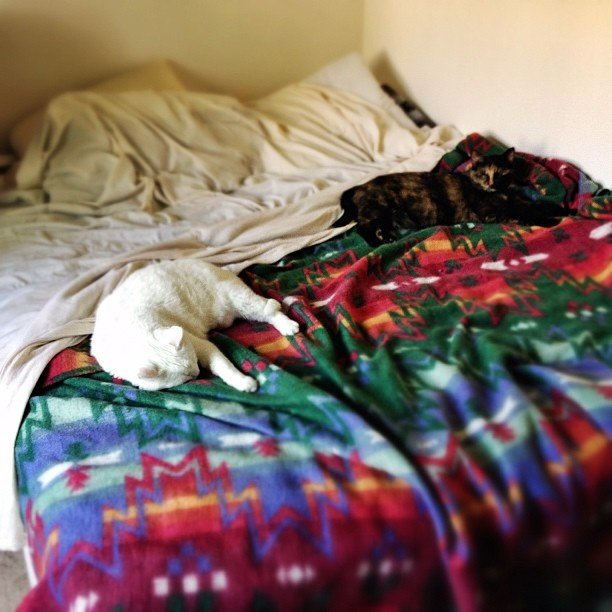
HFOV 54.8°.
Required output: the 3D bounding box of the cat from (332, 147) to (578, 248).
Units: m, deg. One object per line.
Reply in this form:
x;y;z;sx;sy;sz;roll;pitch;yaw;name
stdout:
0.530;-0.359;2.238;0.854;0.251;0.352;-6;43;-1;cat
